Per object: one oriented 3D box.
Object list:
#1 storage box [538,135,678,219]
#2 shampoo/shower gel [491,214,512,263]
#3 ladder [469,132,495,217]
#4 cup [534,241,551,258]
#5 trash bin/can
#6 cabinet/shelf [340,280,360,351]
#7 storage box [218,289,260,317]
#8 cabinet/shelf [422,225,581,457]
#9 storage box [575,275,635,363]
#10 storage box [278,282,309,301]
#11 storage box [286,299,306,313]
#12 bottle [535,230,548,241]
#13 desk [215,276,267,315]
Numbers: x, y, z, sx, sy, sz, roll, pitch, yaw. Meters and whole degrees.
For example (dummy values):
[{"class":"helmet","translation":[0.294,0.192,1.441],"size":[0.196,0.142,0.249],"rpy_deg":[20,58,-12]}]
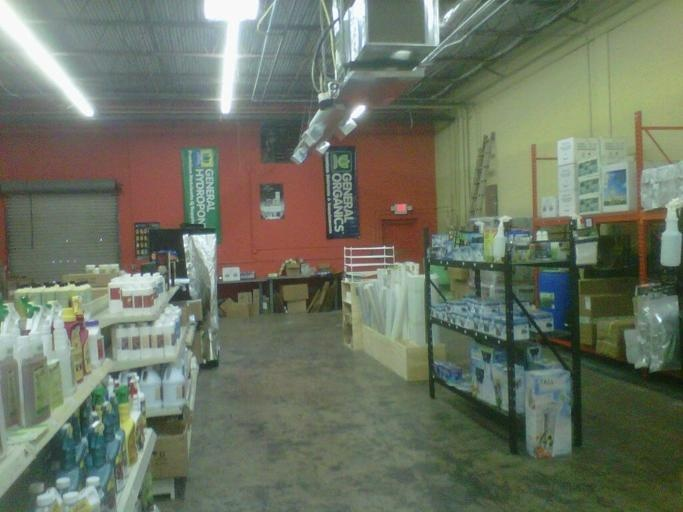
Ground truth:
[{"class":"storage box","translation":[3.320,-0.974,7.705],"size":[0.481,1.129,1.347],"rpy_deg":[3,-5,-35]},{"class":"shampoo/shower gel","translation":[1.494,-0.155,5.890],"size":[0.162,0.411,0.446],"rpy_deg":[-1,5,15]},{"class":"ladder","translation":[2.595,-1.488,11.635],"size":[0.251,1.549,0.705],"rpy_deg":[-3,5,-11]},{"class":"cup","translation":[1.885,-0.069,5.970],"size":[0.192,0.194,0.143],"rpy_deg":[1,7,10]},{"class":"trash bin/can","translation":[1.853,1.408,5.630],"size":[0.390,0.802,0.182],"rpy_deg":[-1,5,15]},{"class":"cabinet/shelf","translation":[0.123,0.871,9.004],"size":[0.290,1.052,0.908],"rpy_deg":[0,-2,-7]},{"class":"storage box","translation":[-1.943,0.925,12.076],"size":[0.773,0.461,0.509],"rpy_deg":[-4,5,-21]},{"class":"cabinet/shelf","translation":[1.624,0.905,6.338],"size":[0.704,2.082,2.155],"rpy_deg":[1,-2,-12]},{"class":"storage box","translation":[3.208,0.772,7.601],"size":[0.994,1.088,0.559],"rpy_deg":[-5,6,-28]},{"class":"storage box","translation":[-0.931,0.684,12.266],"size":[0.371,0.234,0.359],"rpy_deg":[0,-1,-29]},{"class":"storage box","translation":[-0.837,0.981,12.259],"size":[0.425,0.223,0.222],"rpy_deg":[-5,6,-33]},{"class":"bottle","translation":[2.082,-0.208,6.552],"size":[0.157,0.088,0.253],"rpy_deg":[-1,-1,5]},{"class":"desk","translation":[-2.002,0.826,12.406],"size":[0.774,0.635,0.813],"rpy_deg":[-3,4,-32]}]
